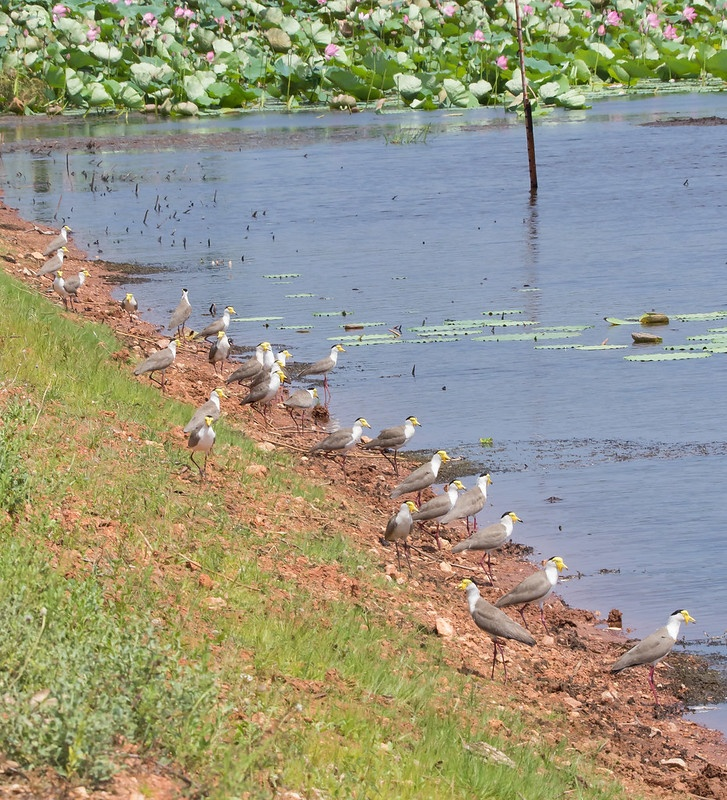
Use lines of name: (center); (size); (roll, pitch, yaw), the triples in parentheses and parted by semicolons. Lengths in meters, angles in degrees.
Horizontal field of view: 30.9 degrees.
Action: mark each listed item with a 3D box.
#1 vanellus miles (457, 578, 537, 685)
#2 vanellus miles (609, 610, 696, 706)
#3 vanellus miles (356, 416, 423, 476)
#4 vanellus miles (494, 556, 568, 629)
vanellus miles: (1.138, 1.954, 11.280); (0.482, 0.696, 1.004); (0, 8, -3)
vanellus miles: (2.471, 2.186, 11.382); (0.525, 0.674, 0.865); (4, 9, 21)
vanellus miles: (0.473, 0.511, 15.853); (0.863, 0.607, 0.736); (-10, 17, -27)
vanellus miles: (1.583, 1.753, 12.183); (0.835, 0.612, 0.826); (0, 12, 9)
